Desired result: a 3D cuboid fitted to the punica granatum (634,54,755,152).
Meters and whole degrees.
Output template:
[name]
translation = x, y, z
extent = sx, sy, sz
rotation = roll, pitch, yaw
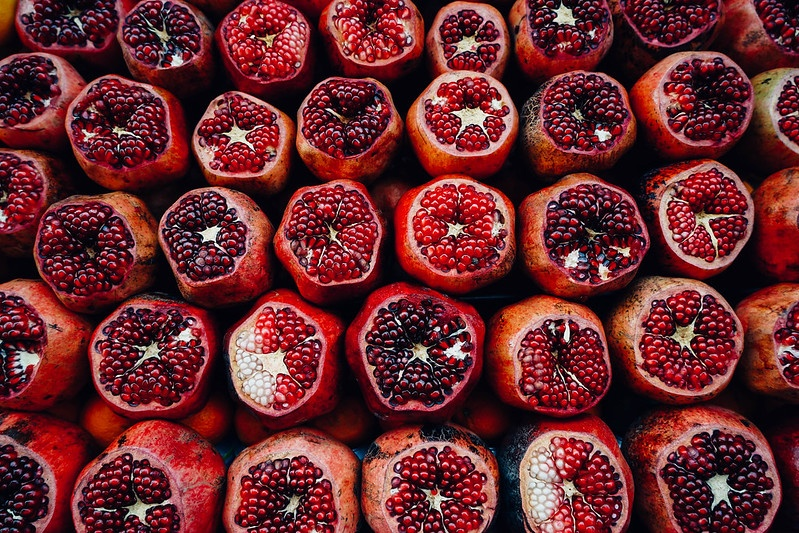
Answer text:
[punica granatum]
translation = 1.807, -0.979, 4.503
extent = 0.675, 0.284, 0.613
rotation = 0, 74, 0
